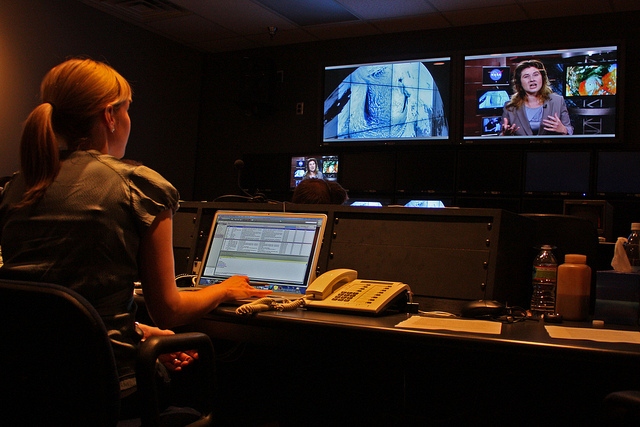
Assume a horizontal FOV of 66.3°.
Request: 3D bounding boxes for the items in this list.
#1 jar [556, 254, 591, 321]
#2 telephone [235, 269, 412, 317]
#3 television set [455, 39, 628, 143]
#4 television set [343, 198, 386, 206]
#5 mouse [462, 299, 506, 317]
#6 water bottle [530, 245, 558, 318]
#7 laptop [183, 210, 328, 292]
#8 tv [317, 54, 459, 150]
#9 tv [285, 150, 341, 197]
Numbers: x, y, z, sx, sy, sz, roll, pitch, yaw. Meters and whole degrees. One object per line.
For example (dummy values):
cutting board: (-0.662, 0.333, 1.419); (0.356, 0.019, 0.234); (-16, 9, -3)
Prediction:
jar: (0.983, 0.285, 1.906); (0.139, 0.240, 0.138); (3, 0, 0)
telephone: (0.025, 0.306, 1.927); (0.650, 0.139, 0.416); (-2, -1, 13)
television set: (2.046, -1.124, 4.612); (1.474, 0.928, 0.142); (3, 0, 17)
television set: (0.492, -0.124, 5.208); (0.231, 0.051, 0.159); (-2, -7, 19)
mouse: (0.613, 0.338, 1.817); (0.124, 0.038, 0.071); (-6, 6, 8)
water bottle: (0.906, 0.265, 1.990); (0.126, 0.284, 0.141); (1, -4, 24)
laptop: (-0.228, 0.155, 2.112); (0.482, 0.266, 0.391); (4, 0, 16)
tv: (0.758, -1.150, 5.091); (1.132, 0.670, 0.053); (0, -1, 18)
tv: (-0.092, -0.487, 5.521); (0.607, 0.405, 0.058); (-4, 21, -15)
